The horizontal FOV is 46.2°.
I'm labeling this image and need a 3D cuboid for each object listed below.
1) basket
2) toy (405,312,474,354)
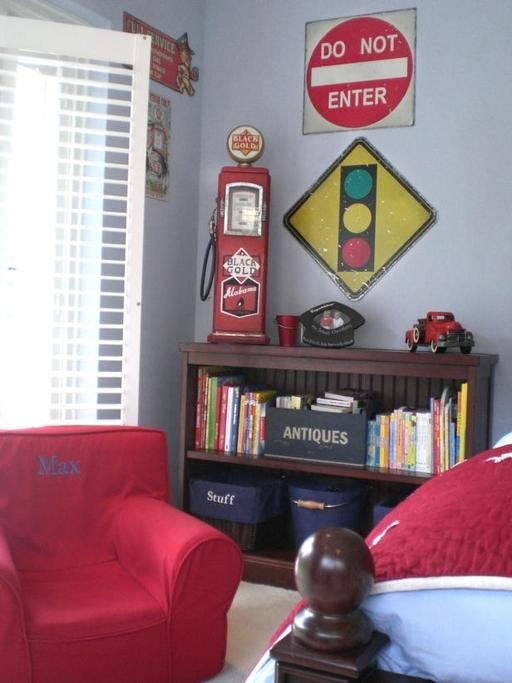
[{"bbox_3d":[-0.053,0.769,2.622,0.357,0.310,0.476,-3,-12,27],"label":"basket"},{"bbox_3d":[0.695,-0.026,2.286,0.142,0.130,0.266,0,-1,-16],"label":"toy"}]
